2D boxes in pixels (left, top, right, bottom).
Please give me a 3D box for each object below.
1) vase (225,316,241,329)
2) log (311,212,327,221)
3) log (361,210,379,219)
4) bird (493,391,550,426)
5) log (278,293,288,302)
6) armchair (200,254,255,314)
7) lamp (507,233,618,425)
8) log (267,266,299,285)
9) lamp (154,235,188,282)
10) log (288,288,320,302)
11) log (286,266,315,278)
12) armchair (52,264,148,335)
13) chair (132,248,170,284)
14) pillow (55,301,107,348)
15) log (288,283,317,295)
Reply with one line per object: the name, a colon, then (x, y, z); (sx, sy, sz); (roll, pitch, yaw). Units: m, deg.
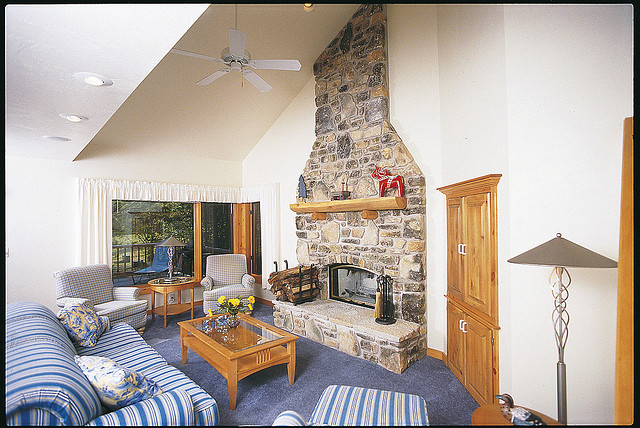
vase: (-1.039, 1.275, 5.009); (0.146, 0.094, 0.140); (1, -1, -4)
log: (-0.014, 0.020, 6.205); (0.160, 0.127, 0.112); (0, 0, -20)
log: (0.653, -0.008, 5.571); (0.244, 0.123, 0.068); (-8, 15, -29)
bird: (1.631, 1.621, 3.526); (0.255, 0.125, 0.334); (1, -5, 1)
log: (-0.557, 1.203, 6.165); (0.112, 0.130, 0.198); (5, -8, -41)
armchair: (-1.544, 1.132, 7.064); (0.991, 1.108, 0.895); (2, -14, -14)
lamp: (1.994, 0.806, 3.574); (0.656, 1.816, 0.625); (-1, 0, -23)
log: (-0.626, 0.909, 6.257); (0.108, 0.165, 0.252); (26, 32, 30)
lamp: (-2.391, 0.702, 6.757); (0.507, 0.716, 0.522); (-2, -3, 41)
log: (-0.244, 1.168, 6.184); (0.469, 0.122, 0.147); (-3, -13, -42)
log: (-0.261, 0.814, 6.213); (0.129, 0.126, 0.504); (-7, 0, 42)
armchair: (-3.036, 1.092, 5.926); (1.097, 1.104, 1.082); (0, 1, 30)
chair: (-2.813, 0.821, 6.907); (0.414, 0.427, 0.671); (0, 7, 35)
pillow: (-2.651, 1.196, 4.735); (0.143, 0.469, 0.461); (-42, 23, 3)
log: (-0.251, 1.071, 6.137); (0.481, 0.113, 0.080); (-11, 17, -40)
